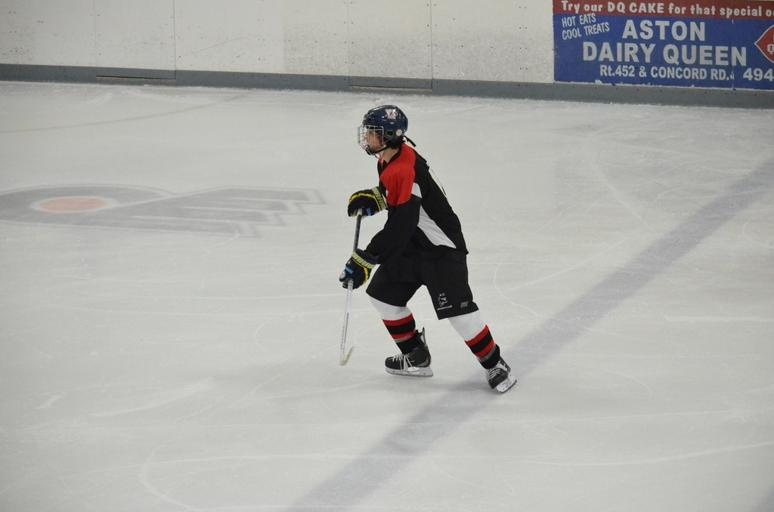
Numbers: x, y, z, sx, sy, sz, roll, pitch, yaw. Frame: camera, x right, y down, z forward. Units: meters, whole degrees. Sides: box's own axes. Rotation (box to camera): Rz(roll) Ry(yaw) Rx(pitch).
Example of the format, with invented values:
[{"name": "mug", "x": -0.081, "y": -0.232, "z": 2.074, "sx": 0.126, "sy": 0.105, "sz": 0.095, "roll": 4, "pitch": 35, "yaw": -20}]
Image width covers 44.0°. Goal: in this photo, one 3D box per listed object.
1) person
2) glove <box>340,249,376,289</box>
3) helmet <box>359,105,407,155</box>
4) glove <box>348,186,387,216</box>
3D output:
[{"name": "person", "x": 0.233, "y": -0.051, "z": 5.822, "sx": 0.986, "sy": 1.673, "sz": 0.287, "roll": 3, "pitch": 12, "yaw": 14}, {"name": "glove", "x": -0.187, "y": 0.096, "z": 5.834, "sx": 0.179, "sy": 0.266, "sz": 0.081, "roll": 31, "pitch": 25, "yaw": -11}, {"name": "helmet", "x": -0.019, "y": -0.778, "z": 5.891, "sx": 0.325, "sy": 0.283, "sz": 0.245, "roll": 0, "pitch": 16, "yaw": -2}, {"name": "glove", "x": -0.123, "y": -0.350, "z": 6.074, "sx": 0.227, "sy": 0.168, "sz": 0.092, "roll": -11, "pitch": 32, "yaw": -4}]
